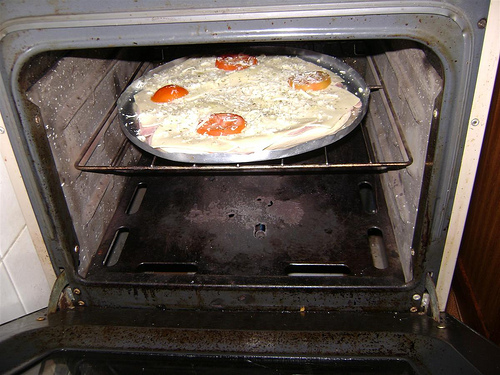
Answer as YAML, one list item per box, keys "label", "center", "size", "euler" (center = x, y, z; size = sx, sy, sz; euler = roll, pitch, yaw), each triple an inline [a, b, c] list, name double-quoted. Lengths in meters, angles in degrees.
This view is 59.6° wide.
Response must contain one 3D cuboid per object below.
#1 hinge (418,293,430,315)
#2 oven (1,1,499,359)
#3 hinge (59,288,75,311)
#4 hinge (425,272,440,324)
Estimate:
- label: "hinge"
  center: [0.516, 0.346, 1.296]
  size: [0.034, 0.056, 0.013]
  euler: [11, 12, 39]
- label: "oven"
  center: [0.017, -0.068, 1.523]
  size: [1.190, 0.766, 1.219]
  euler: [0, 39, 5]
- label: "hinge"
  center: [-0.569, 0.346, 1.351]
  size: [0.013, 0.052, 0.049]
  euler: [3, 16, 17]
- label: "hinge"
  center: [0.535, 0.323, 1.268]
  size: [0.013, 0.140, 0.126]
  euler: [12, 46, 20]
